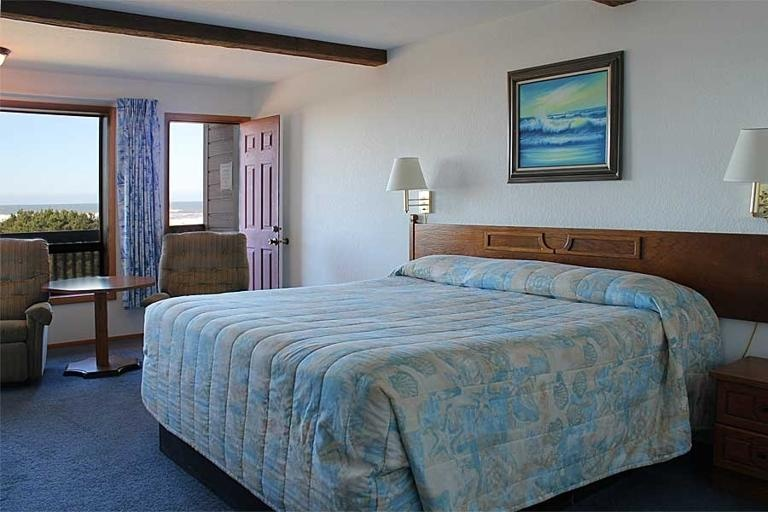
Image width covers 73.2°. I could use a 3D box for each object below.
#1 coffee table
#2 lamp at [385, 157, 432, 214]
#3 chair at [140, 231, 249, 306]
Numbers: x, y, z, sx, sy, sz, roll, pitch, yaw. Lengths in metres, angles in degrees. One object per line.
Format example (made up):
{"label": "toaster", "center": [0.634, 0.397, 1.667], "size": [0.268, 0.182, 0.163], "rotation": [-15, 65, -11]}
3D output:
{"label": "coffee table", "center": [-2.805, 0.755, 5.152], "size": [1.036, 0.803, 1.017], "rotation": [-2, 3, -41]}
{"label": "lamp", "center": [0.255, -0.660, 4.962], "size": [0.387, 0.550, 0.423], "rotation": [5, 12, 24]}
{"label": "chair", "center": [-2.112, 0.104, 5.831], "size": [0.964, 0.946, 0.828], "rotation": [0, 1, -20]}
